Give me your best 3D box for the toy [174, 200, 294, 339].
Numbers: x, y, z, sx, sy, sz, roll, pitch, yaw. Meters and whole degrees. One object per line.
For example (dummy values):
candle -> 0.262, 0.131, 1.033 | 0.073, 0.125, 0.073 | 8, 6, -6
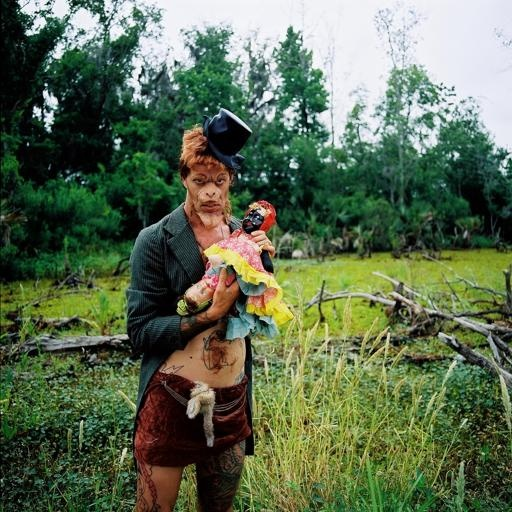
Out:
toy -> -0.107, 0.064, 2.658 | 0.568, 0.649, 0.341 | 2, 0, -10
